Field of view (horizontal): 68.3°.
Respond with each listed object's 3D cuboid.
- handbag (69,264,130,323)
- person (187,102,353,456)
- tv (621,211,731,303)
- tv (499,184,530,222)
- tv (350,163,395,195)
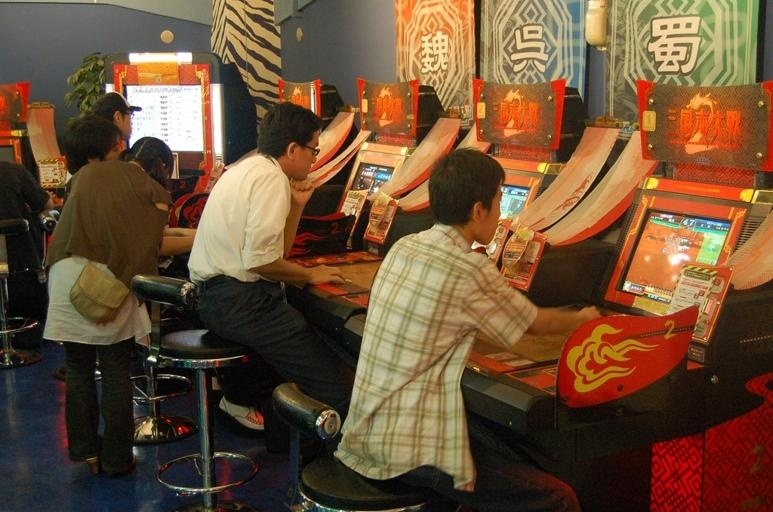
[{"bbox_3d":[-1.545,0.199,3.068,0.148,0.272,0.281,17,29,25],"label":"handbag"},{"bbox_3d":[-0.578,0.180,3.054,1.058,1.760,0.700,2,11,-21],"label":"person"},{"bbox_3d":[1.144,-0.002,2.293,0.090,0.340,0.386,21,-2,-38],"label":"tv"},{"bbox_3d":[0.663,-0.302,2.998,0.206,0.185,0.109,6,25,-2],"label":"tv"},{"bbox_3d":[-0.084,-0.513,3.881,0.092,0.231,0.258,33,-12,-39],"label":"tv"}]
